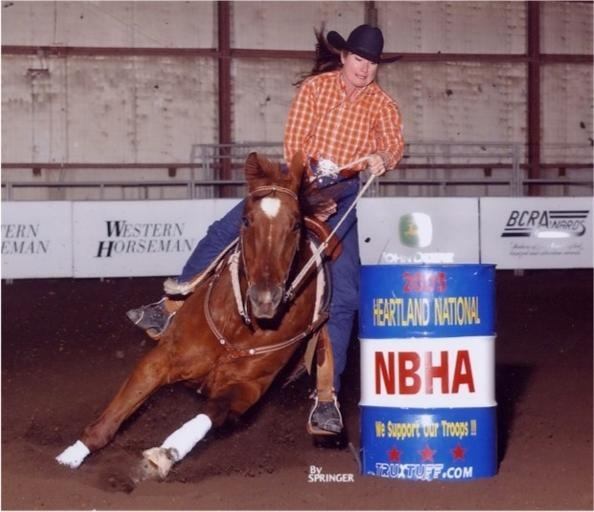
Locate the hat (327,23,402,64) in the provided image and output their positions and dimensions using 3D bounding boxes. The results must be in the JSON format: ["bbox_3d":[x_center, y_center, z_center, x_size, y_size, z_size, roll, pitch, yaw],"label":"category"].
[{"bbox_3d":[0.803,-2.823,15.938,0.645,0.305,0.693,21,-3,-18],"label":"hat"}]
